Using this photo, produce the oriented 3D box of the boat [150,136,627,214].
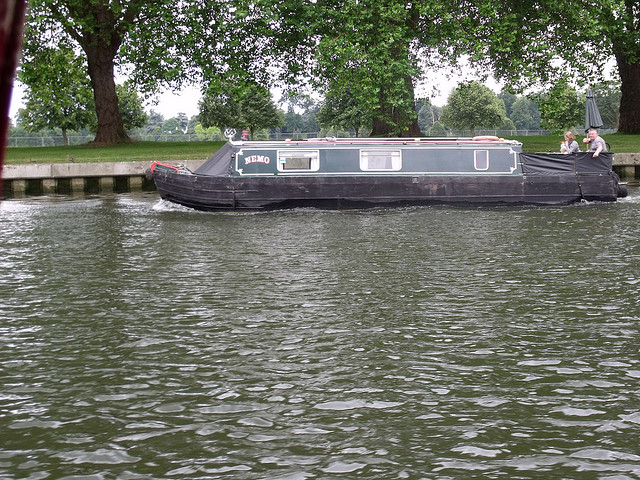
[{"bbox_3d":[2.343,-2.301,29.034,14.620,2.442,0.903,-1,3,-3],"label":"boat"}]
